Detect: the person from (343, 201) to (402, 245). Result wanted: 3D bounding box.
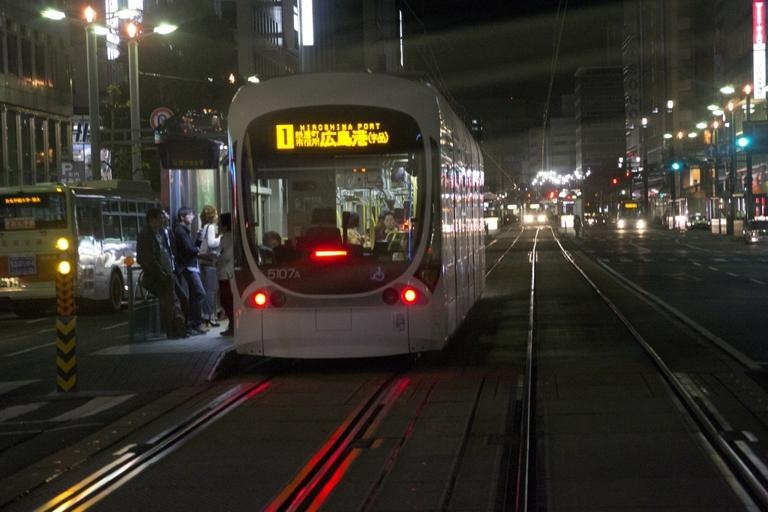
[{"bbox_3d":[-0.189,-0.420,10.978,0.740,0.576,0.621,0,8,9],"label":"person"}]

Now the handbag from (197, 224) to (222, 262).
[{"bbox_3d":[-3.482,-0.247,14.626,0.436,0.732,0.595,10,13,42],"label":"handbag"}]

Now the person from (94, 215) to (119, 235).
[{"bbox_3d":[-8.417,-0.848,22.230,0.385,0.570,0.761,-1,1,5],"label":"person"}]
